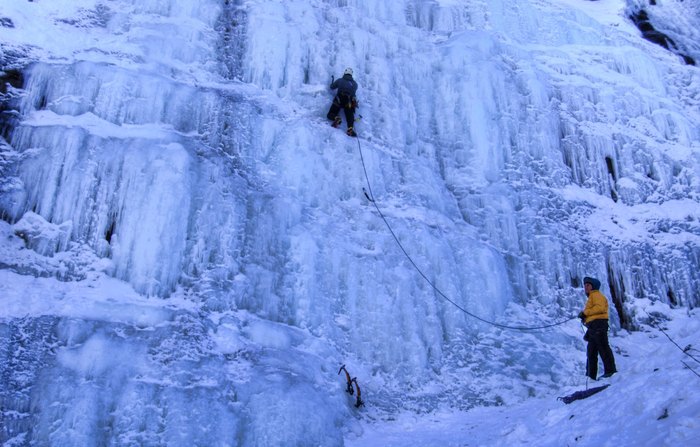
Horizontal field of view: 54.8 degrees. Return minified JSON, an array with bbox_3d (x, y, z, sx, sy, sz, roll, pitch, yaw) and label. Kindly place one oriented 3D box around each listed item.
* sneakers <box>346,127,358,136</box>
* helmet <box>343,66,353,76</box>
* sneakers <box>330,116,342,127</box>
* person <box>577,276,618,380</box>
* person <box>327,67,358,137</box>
[{"bbox_3d":[0.058,-2.417,17.765,0.186,0.095,0.240,34,29,-8],"label":"sneakers"},{"bbox_3d":[-0.021,-4.116,18.238,0.236,0.298,0.309,8,25,-12],"label":"helmet"},{"bbox_3d":[-0.325,-2.679,17.792,0.330,0.289,0.295,2,4,-16],"label":"sneakers"},{"bbox_3d":[5.229,2.263,14.247,0.803,2.171,1.018,5,4,19],"label":"person"},{"bbox_3d":[-0.178,-3.249,17.994,0.787,1.852,0.793,3,4,-3],"label":"person"}]
